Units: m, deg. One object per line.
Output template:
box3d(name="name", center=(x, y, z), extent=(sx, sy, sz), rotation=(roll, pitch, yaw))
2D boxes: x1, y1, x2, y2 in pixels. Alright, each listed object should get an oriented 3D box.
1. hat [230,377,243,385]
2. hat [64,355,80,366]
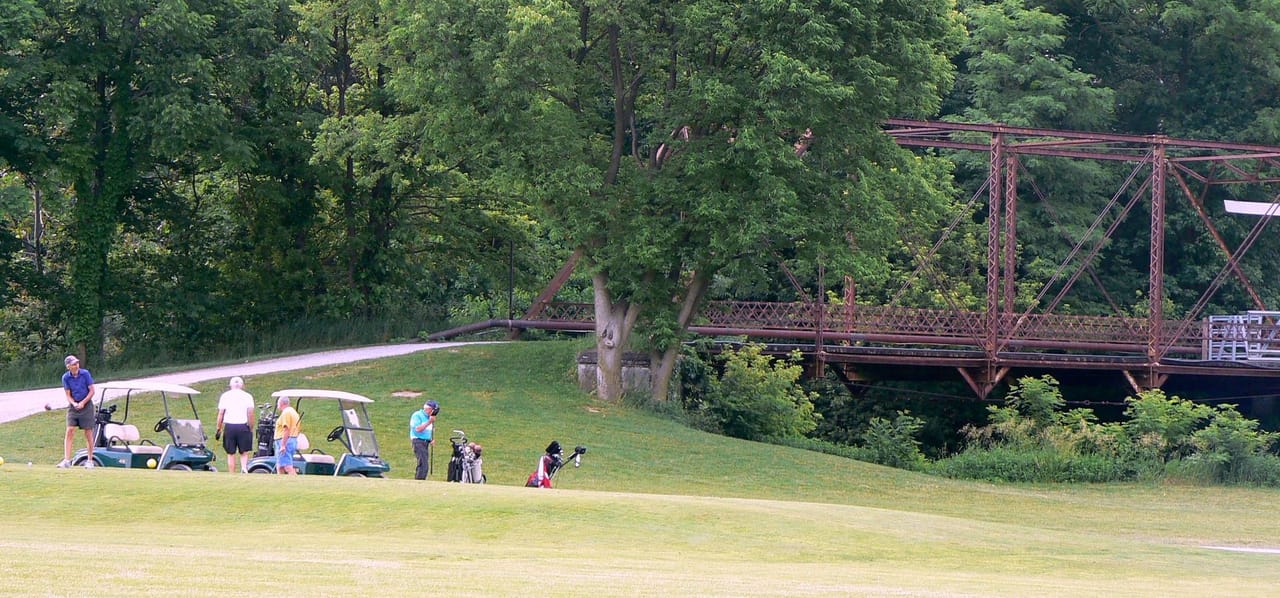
box3d(name="hat", center=(-21.377, 4.502, 151.492), extent=(0.555, 0.434, 0.556), rotation=(2, -38, -8))
box3d(name="hat", center=(-30.705, 3.430, 154.306), extent=(0.962, 0.396, 0.656), rotation=(-26, -14, 40))
